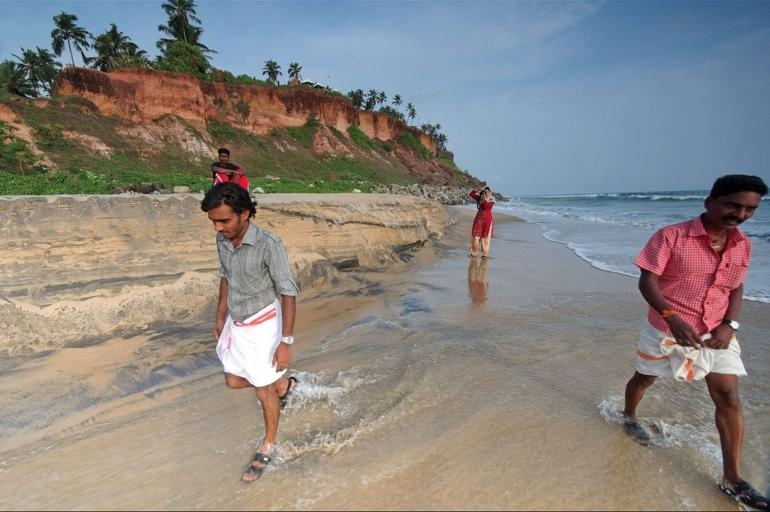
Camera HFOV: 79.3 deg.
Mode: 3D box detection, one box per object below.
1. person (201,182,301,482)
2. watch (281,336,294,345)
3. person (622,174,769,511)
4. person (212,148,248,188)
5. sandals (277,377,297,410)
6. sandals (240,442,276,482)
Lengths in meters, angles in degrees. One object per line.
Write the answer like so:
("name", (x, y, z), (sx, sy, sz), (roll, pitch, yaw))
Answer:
("person", (-1.357, 0.643, 4.774), (0.754, 2.770, 0.993), (-14, 18, -37))
("watch", (-1.001, 0.843, 4.706), (0.108, 0.051, 0.103), (1, 2, 25))
("person", (3.110, 0.672, 4.589), (1.191, 2.943, 1.030), (6, 17, 34))
("person", (-3.483, -1.871, 10.281), (0.702, 0.906, 0.979), (-12, 25, -39))
("sandals", (-1.119, 1.523, 5.282), (0.137, 0.363, 0.160), (-2, -32, 45))
("sandals", (-1.258, 2.027, 4.590), (0.154, 0.163, 0.461), (7, -6, 10))
